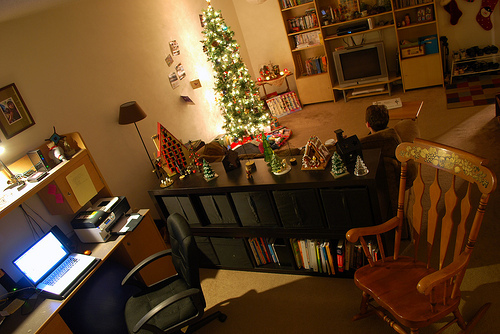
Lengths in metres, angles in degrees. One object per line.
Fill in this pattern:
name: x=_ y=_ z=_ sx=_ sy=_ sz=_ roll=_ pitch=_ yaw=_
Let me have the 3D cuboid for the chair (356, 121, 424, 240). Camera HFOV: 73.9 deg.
chair: x=1.410 y=0.154 z=3.363 sx=0.752 sy=0.986 sz=0.888 roll=7 pitch=39 yaw=17

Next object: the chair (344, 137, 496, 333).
chair: x=1.542 y=0.689 z=3.105 sx=0.928 sy=1.601 sz=0.908 roll=-30 pitch=45 yaw=-12

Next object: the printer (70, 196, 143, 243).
printer: x=-1.667 y=0.778 z=3.966 sx=0.505 sy=0.404 sz=0.731 roll=1 pitch=32 yaw=20

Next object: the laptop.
laptop: x=-1.977 y=1.040 z=3.433 sx=0.586 sy=0.401 sz=0.663 roll=21 pitch=35 yaw=8

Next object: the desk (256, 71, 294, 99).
desk: x=0.628 y=-1.842 z=7.744 sx=0.968 sy=0.491 sz=0.532 roll=-22 pitch=45 yaw=-12

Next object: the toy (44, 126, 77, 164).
toy: x=-2.140 y=-0.231 z=3.725 sx=0.243 sy=0.390 sz=0.209 roll=18 pitch=50 yaw=43
